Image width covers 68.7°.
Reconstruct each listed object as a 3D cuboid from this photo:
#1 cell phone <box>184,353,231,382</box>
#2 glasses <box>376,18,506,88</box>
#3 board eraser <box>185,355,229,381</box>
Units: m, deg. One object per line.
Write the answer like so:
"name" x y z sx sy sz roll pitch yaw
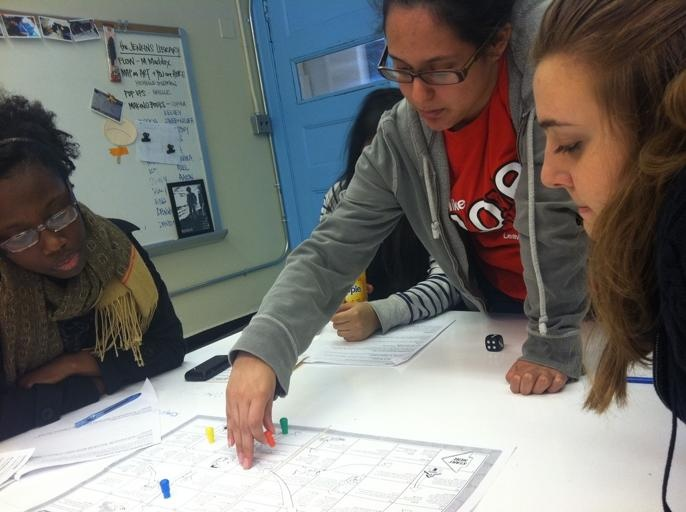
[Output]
"cell phone" -0.365 0.299 1.403 0.089 0.039 0.162 -1 14 27
"glasses" 0.179 -0.454 1.200 0.320 0.115 0.182 6 17 41
"board eraser" -0.374 0.311 1.386 0.080 0.035 0.147 -1 14 26
